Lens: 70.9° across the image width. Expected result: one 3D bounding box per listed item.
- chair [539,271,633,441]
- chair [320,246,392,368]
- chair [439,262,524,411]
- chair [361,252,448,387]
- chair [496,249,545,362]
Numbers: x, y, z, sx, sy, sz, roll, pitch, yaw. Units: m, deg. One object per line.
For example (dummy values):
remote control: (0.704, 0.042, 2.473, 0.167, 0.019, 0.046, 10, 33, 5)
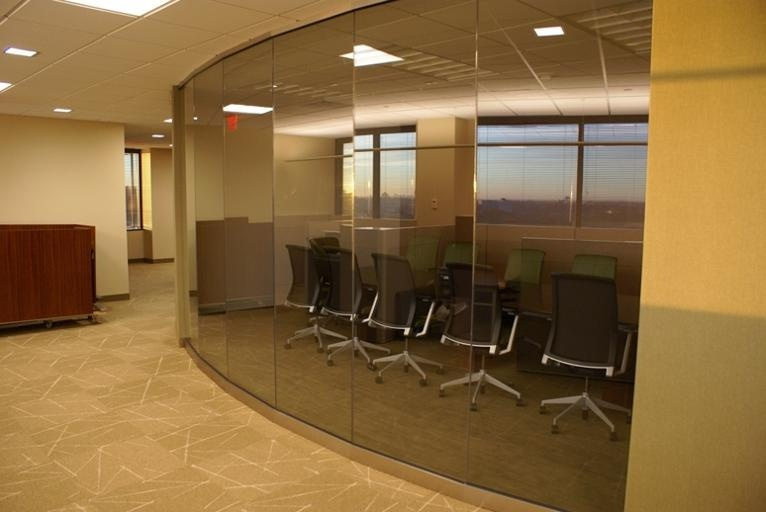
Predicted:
chair: (1.499, 0.710, 4.000, 0.618, 1.171, 0.448, 3, 14, 17)
chair: (-0.236, 0.445, 4.817, 0.677, 0.981, 0.737, -4, -13, 3)
chair: (0.826, 0.630, 4.310, 0.700, 1.007, 0.704, 3, 0, -44)
chair: (0.204, 0.542, 4.710, 0.686, 1.013, 0.722, 2, 0, -34)
chair: (1.054, 0.345, 4.072, 0.345, 0.808, 0.183, 2, 14, 12)
